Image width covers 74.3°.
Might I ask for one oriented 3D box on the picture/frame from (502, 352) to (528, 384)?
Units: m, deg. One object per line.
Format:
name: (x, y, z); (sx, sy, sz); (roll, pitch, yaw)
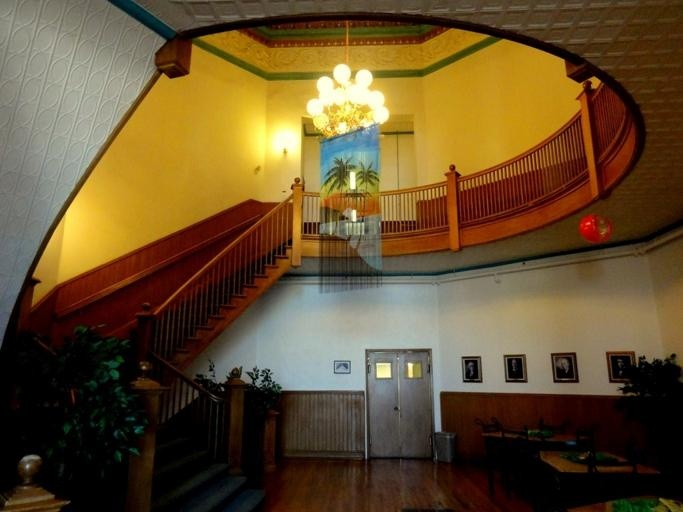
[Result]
picture/frame: (3.452, 2.228, 8.917); (0.537, 0.678, 0.046); (-12, -21, 44)

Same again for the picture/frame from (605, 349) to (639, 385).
picture/frame: (4.665, 1.847, 7.473); (0.045, 0.643, 0.535); (16, -18, -25)

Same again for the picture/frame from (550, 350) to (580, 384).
picture/frame: (4.138, 2.058, 8.316); (0.075, 0.760, 0.604); (10, -10, -42)

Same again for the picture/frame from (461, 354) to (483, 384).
picture/frame: (2.747, 2.374, 9.444); (0.537, 0.684, 0.067); (-9, -21, 38)
